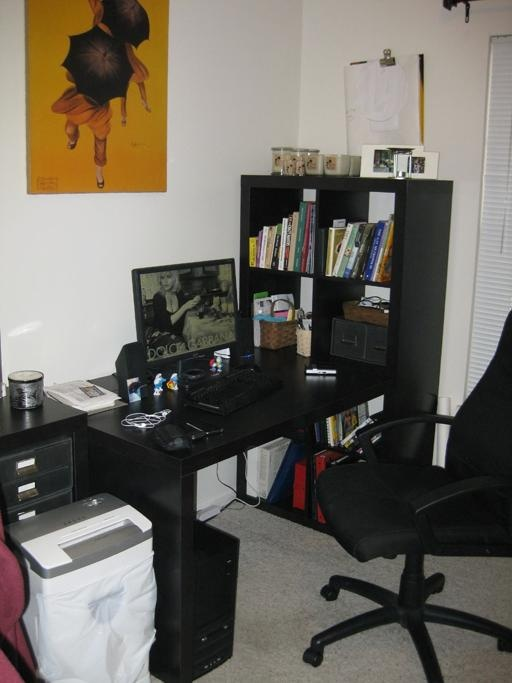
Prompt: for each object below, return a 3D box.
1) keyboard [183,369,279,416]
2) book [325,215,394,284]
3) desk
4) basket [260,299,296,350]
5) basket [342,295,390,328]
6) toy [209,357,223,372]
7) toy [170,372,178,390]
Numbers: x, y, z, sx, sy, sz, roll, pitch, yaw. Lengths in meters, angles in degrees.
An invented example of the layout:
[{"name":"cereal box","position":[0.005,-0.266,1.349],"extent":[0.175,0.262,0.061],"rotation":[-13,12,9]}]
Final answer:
[{"name":"keyboard","position":[-0.080,0.173,2.052],"extent":[0.142,0.062,0.250],"rotation":[21,30,32]},{"name":"book","position":[0.498,-0.419,2.570],"extent":[0.250,0.335,0.341],"rotation":[13,19,30]},{"name":"desk","position":[-0.085,0.585,2.056],"extent":[0.451,0.787,0.924],"rotation":[8,12,38]},{"name":"basket","position":[0.109,-0.089,2.844],"extent":[0.140,0.233,0.230],"rotation":[12,14,42]},{"name":"basket","position":[0.514,-0.137,2.645],"extent":[0.136,0.060,0.170],"rotation":[-11,14,-43]},{"name":"toy","position":[-0.166,0.095,2.412],"extent":[0.050,0.053,0.094],"rotation":[0,9,4]},{"name":"toy","position":[-0.303,0.148,2.138],"extent":[0.030,0.042,0.063],"rotation":[6,21,-3]}]
